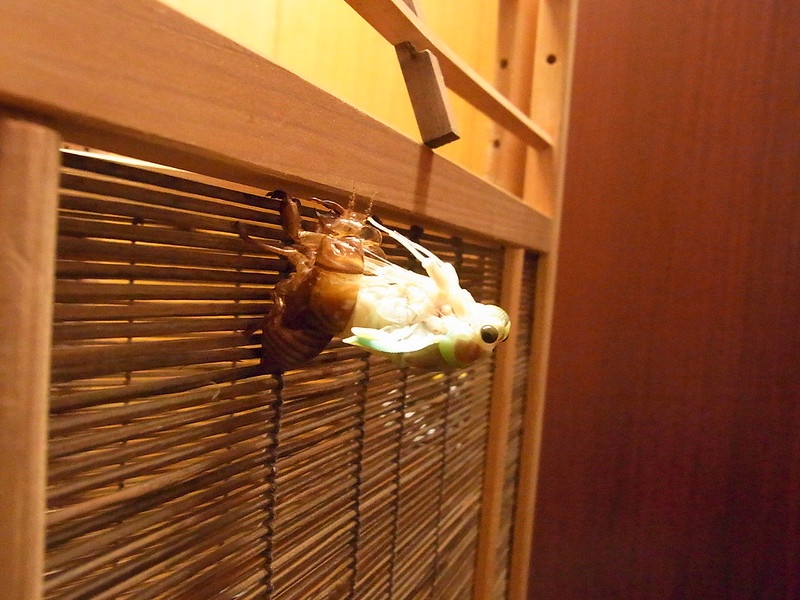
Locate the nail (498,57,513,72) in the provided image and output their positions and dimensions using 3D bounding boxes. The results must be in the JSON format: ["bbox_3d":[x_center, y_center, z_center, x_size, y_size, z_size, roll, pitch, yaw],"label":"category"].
[{"bbox_3d":[0.365,-0.834,2.001,0.044,0.038,0.044,21,9,40],"label":"nail"}]

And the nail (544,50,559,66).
[{"bbox_3d":[0.476,-0.766,1.785,0.039,0.032,0.020,2,-2,15],"label":"nail"}]

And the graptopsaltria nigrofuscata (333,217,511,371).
[{"bbox_3d":[0.031,0.002,0.773,0.225,0.161,0.103,17,-50,0],"label":"graptopsaltria nigrofuscata"}]
